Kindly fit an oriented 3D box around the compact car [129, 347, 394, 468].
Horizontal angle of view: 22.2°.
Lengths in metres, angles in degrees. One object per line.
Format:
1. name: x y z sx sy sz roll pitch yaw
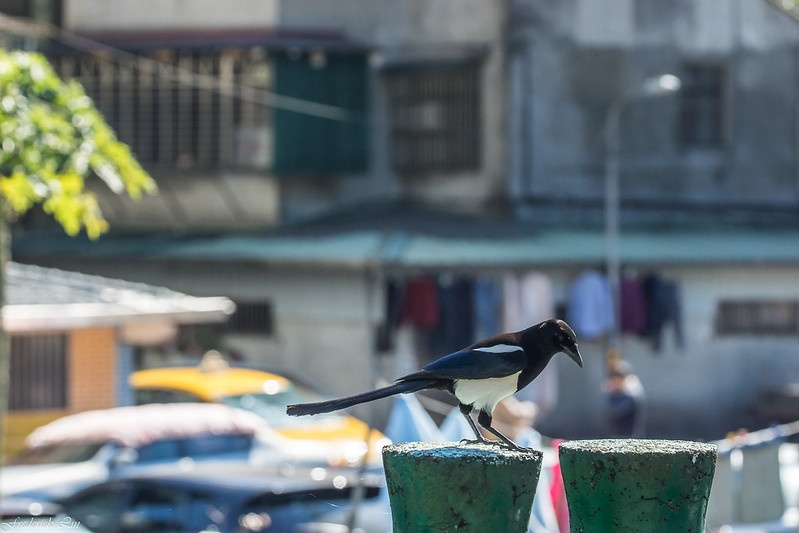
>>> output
1. compact car: -1.031 1.106 16.951 1.657 0.559 0.827 1 -1 35
